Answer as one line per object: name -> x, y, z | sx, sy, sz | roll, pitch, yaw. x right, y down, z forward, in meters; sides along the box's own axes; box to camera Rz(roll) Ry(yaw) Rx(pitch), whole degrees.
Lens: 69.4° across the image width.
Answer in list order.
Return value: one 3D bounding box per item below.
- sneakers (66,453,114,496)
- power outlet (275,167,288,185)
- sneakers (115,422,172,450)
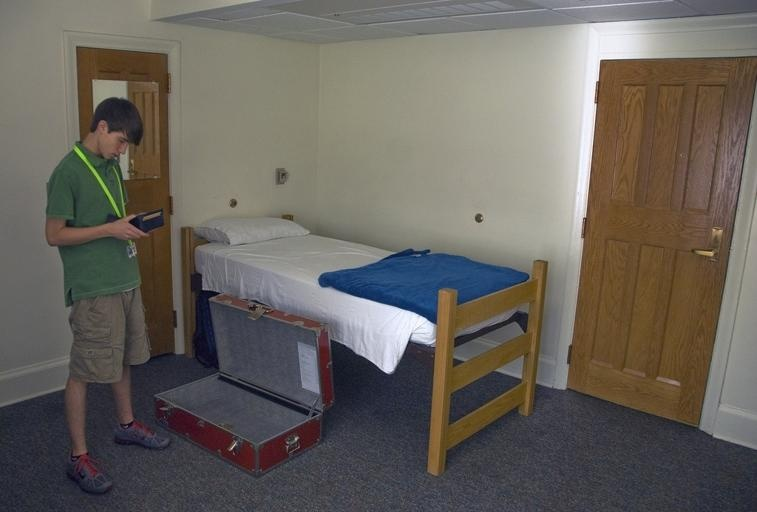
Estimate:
sneakers -> -1.757, 1.323, 3.390 | 0.331, 0.151, 0.161 | 21, 24, 28
power outlet -> -0.942, -0.778, 5.352 | 0.153, 0.143, 0.036 | -8, 9, -40
sneakers -> -1.591, 1.202, 3.756 | 0.421, 0.181, 0.153 | 6, 16, -7
